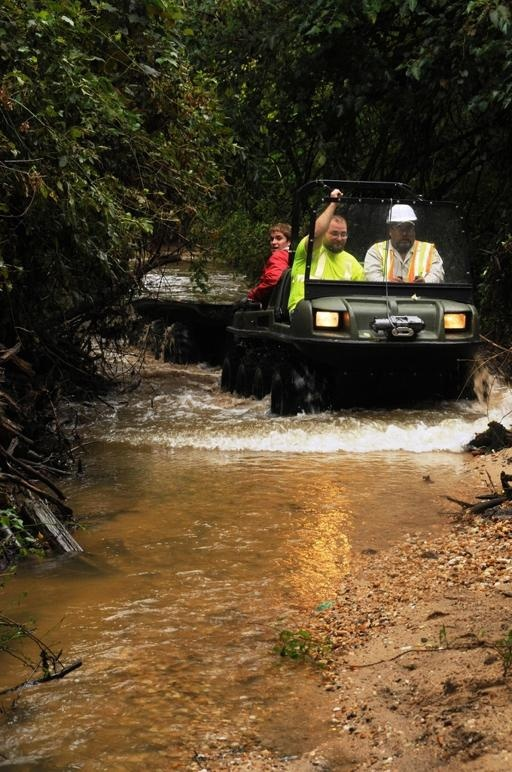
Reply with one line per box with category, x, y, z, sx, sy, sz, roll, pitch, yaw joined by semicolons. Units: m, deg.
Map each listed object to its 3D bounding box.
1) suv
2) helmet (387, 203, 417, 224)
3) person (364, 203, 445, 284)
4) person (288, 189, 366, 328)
suv;1.464;-1.201;9.062;2.373;2.741;3.950;-2;13;-4
helmet;1.645;-1.949;7.661;0.220;0.148;0.298;0;3;0
person;1.515;-1.701;7.984;1.155;1.146;0.854;-2;12;-8
person;0.791;-1.304;7.824;0.718;1.450;0.951;8;-7;45
